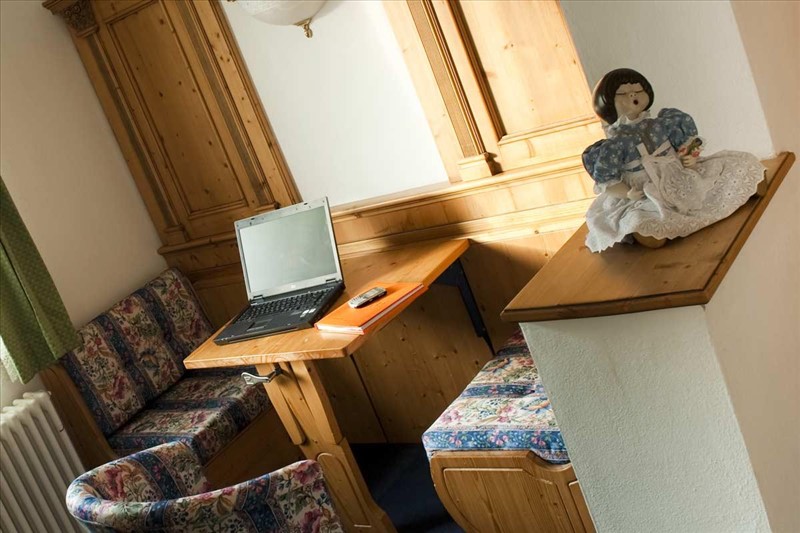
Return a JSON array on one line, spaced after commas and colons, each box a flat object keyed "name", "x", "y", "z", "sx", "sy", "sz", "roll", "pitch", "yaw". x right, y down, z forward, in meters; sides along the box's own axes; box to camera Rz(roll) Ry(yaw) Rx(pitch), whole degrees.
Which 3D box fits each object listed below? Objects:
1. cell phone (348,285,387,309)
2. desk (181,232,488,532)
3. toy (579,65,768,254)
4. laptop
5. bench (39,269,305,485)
[{"name": "cell phone", "x": -0.114, "y": 0.106, "z": 1.935, "sx": 0.123, "sy": 0.027, "sz": 0.066, "roll": -22, "pitch": 26, "yaw": -25}, {"name": "desk", "x": -0.204, "y": 0.450, "z": 2.124, "sx": 0.540, "sy": 0.515, "sz": 1.069, "roll": -10, "pitch": 22, "yaw": 33}, {"name": "toy", "x": 0.601, "y": -0.289, "z": 1.326, "sx": 0.415, "sy": 0.382, "sz": 0.353, "roll": -28, "pitch": 21, "yaw": -9}, {"name": "laptop", "x": -0.508, "y": 0.024, "z": 2.142, "sx": 0.551, "sy": 0.364, "sz": 0.496, "roll": -16, "pitch": 18, "yaw": 17}, {"name": "bench", "x": -1.008, "y": 0.569, "z": 2.670, "sx": 0.819, "sy": 0.741, "sz": 0.876, "roll": 0, "pitch": 27, "yaw": 18}]
